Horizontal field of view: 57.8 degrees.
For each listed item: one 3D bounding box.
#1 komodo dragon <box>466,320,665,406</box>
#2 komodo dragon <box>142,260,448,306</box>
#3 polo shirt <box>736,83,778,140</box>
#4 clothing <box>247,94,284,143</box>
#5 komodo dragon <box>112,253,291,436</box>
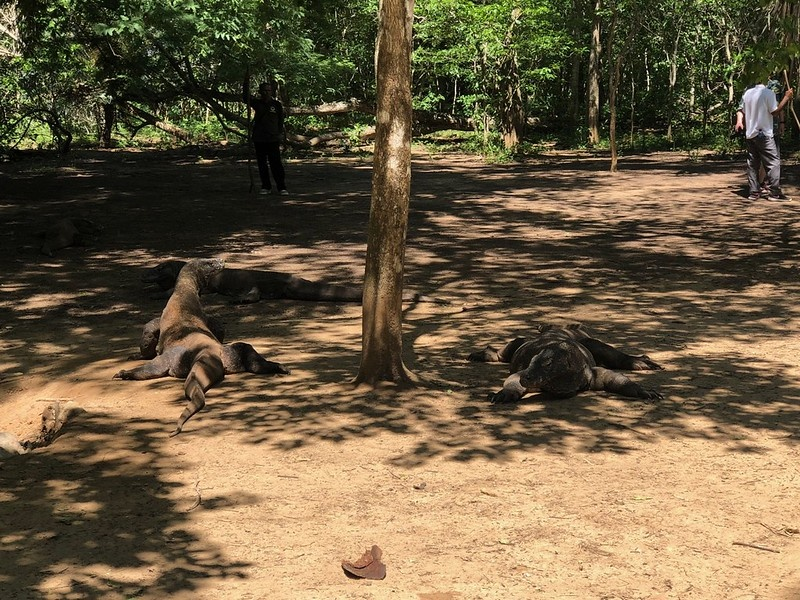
[{"bbox_3d":[1.573,0.510,7.128,1.876,0.467,1.853,-3,18,6],"label":"komodo dragon"},{"bbox_3d":[-1.480,-0.206,9.808,3.642,0.284,0.595,3,-24,8],"label":"komodo dragon"},{"bbox_3d":[8.081,-4.207,16.185,0.591,1.145,0.875,-10,12,-17],"label":"polo shirt"},{"bbox_3d":[-3.266,-4.421,17.847,0.765,1.111,0.472,-6,12,-4],"label":"clothing"},{"bbox_3d":[-2.097,0.402,7.386,1.828,0.878,2.350,-7,27,-14],"label":"komodo dragon"}]
